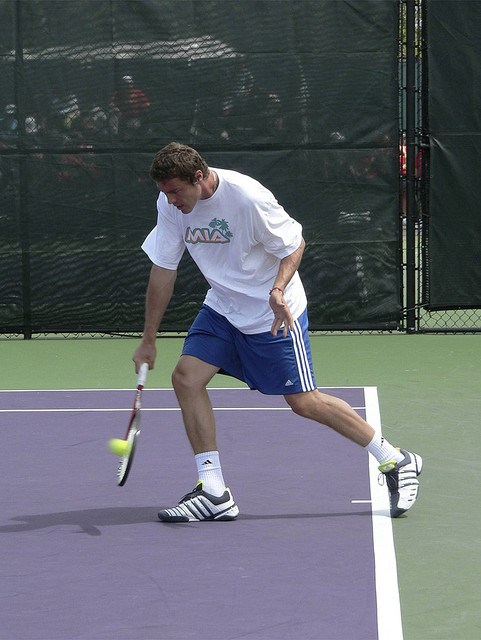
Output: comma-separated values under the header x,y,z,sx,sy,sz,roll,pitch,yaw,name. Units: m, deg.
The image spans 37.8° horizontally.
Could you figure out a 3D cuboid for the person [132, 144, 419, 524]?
x,y,z,sx,sy,sz,roll,pitch,yaw,name
0.090,0.046,2.852,1.055,1.480,0.619,-4,11,-7,person
